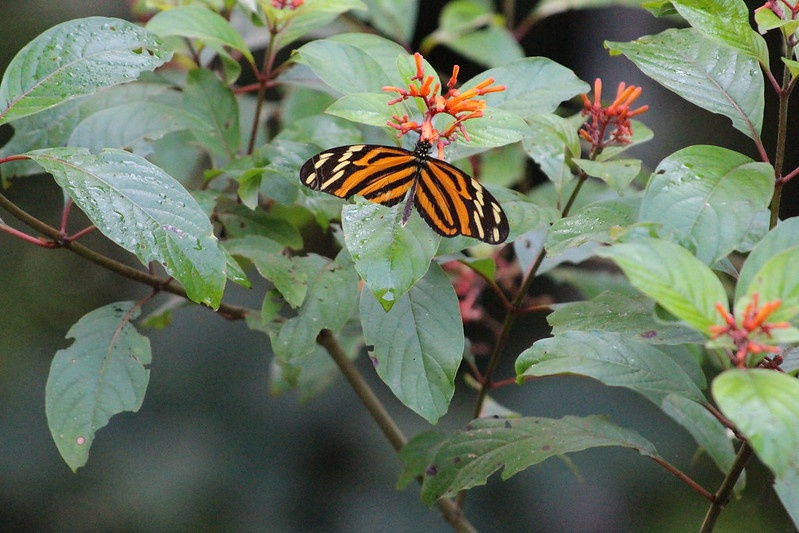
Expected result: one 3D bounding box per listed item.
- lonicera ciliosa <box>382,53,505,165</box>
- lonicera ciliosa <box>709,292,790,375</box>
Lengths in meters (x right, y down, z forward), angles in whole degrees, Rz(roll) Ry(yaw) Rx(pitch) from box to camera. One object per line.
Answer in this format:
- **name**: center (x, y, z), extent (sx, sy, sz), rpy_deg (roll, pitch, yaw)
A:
- **lonicera ciliosa**: center (0.123, -0.502, 2.471), extent (0.371, 0.217, 0.360), rpy_deg (-32, 58, -20)
- **lonicera ciliosa**: center (1.003, 0.183, 2.247), extent (0.226, 0.234, 0.138), rpy_deg (22, 2, 18)
